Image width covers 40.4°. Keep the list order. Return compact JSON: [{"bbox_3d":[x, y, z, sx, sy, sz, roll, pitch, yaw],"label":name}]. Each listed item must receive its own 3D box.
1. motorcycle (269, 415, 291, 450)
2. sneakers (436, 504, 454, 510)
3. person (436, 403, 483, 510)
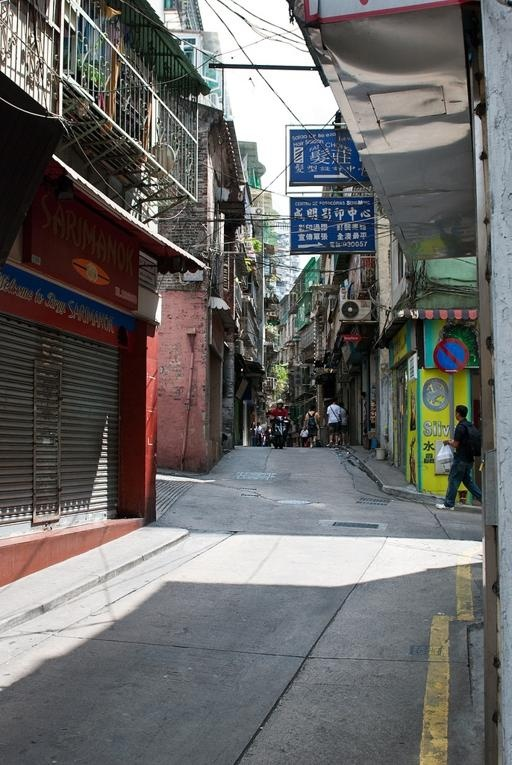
[{"bbox_3d":[0.819,1.769,24.663,0.640,1.103,0.592,0,-2,0],"label":"motorcycle"},{"bbox_3d":[3.261,2.150,11.928,0.284,0.123,0.104,17,-14,-33],"label":"sneakers"},{"bbox_3d":[3.437,1.284,11.798,0.654,1.743,1.394,-1,-3,15],"label":"person"}]
